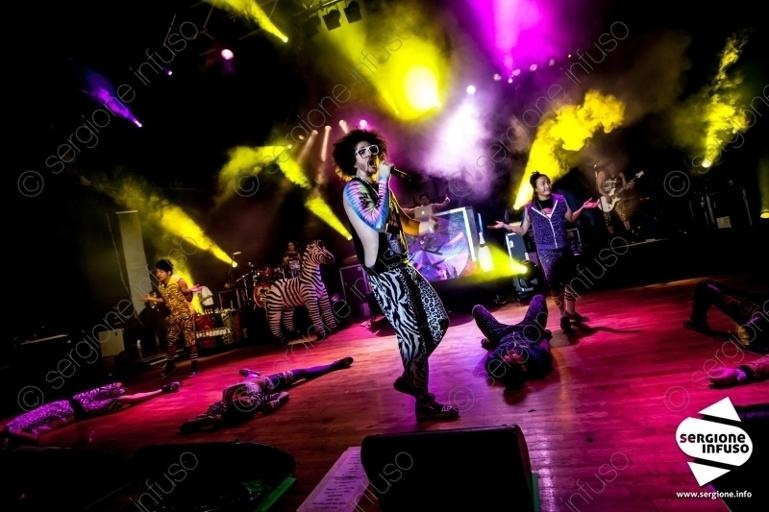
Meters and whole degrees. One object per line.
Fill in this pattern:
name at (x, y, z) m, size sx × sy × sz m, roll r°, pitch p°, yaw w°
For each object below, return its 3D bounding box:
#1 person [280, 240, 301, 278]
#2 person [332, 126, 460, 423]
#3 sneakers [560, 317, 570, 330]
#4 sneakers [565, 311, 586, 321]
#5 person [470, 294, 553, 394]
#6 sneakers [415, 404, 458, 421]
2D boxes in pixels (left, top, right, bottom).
person at (-2.171, 0.142, 11.872) m, size 0.423 × 0.696 × 1.256 m, roll -13°, pitch -5°, yaw -14°
person at (0.153, 0.254, 6.549) m, size 0.917 × 3.536 × 0.462 m, roll -13°, pitch -4°, yaw -4°
sneakers at (2.850, 1.103, 8.047) m, size 0.143 × 0.248 × 0.174 m, roll -15°, pitch -4°, yaw 18°
sneakers at (3.093, 0.996, 8.336) m, size 0.454 × 0.199 × 0.162 m, roll 3°, pitch -3°, yaw -35°
person at (1.875, 1.255, 7.224) m, size 0.949 × 1.249 × 0.960 m, roll -15°, pitch -4°, yaw 13°
sneakers at (0.670, 2.060, 6.637) m, size 0.504 × 0.265 × 0.213 m, roll -4°, pitch -9°, yaw 6°
